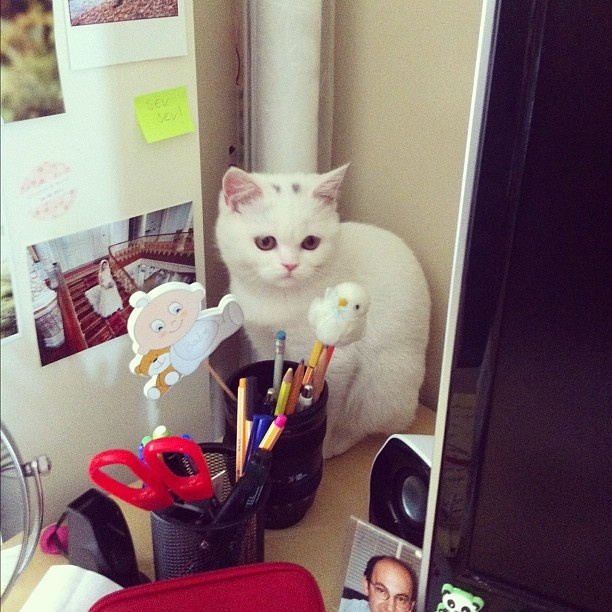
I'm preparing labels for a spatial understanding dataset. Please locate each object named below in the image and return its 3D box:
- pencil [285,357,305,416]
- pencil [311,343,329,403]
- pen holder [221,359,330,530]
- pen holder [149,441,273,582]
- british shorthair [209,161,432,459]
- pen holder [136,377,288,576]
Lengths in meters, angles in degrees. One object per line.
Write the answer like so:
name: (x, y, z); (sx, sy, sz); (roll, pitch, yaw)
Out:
pencil: (-0.011, 0.087, 0.577); (0.011, 0.084, 0.012); (11, 17, -3)
pencil: (0.015, 0.075, 0.587); (0.010, 0.089, 0.011); (14, 27, 4)
pen holder: (-0.032, 0.144, 0.577); (0.099, 0.180, 0.109); (-10, 32, -16)
pen holder: (-0.091, 0.200, 0.573); (0.102, 0.137, 0.129); (-1, 36, -8)
british shorthair: (-0.002, -0.080, 0.766); (0.262, 0.424, 0.218); (-29, 35, -27)
pen holder: (-0.096, 0.187, 0.574); (0.118, 0.155, 0.143); (-7, 36, -18)
